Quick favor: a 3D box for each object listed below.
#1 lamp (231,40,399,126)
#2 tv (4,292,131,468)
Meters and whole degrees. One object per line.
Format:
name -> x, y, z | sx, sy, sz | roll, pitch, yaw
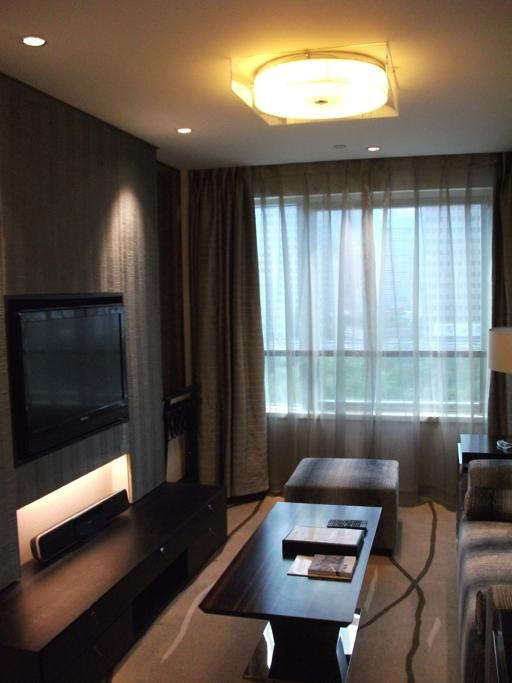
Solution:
lamp -> 0.243, -1.014, 2.148 | 0.627, 0.153, 0.493 | 0, 1, 15
tv -> -0.868, 0.163, 2.439 | 0.066, 0.723, 0.694 | 1, 7, 16
